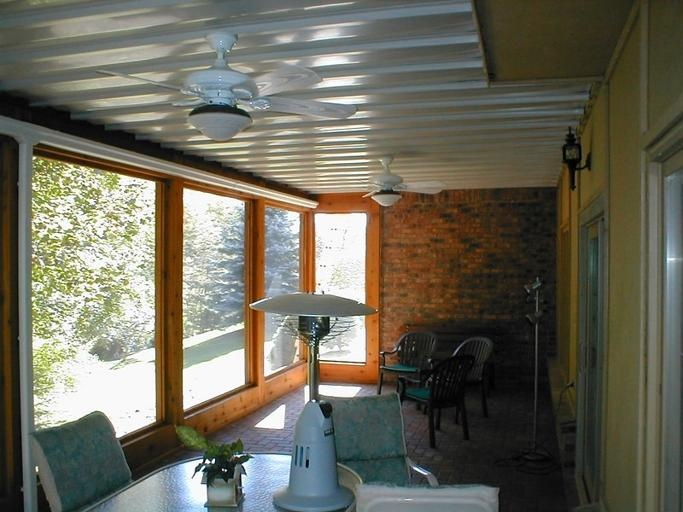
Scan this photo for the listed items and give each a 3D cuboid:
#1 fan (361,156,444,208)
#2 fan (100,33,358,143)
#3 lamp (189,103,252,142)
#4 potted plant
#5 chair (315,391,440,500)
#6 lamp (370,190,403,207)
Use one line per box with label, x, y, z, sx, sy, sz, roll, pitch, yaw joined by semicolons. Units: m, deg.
fan;0.490;-0.849;6.236;0.873;0.254;0.670;6;17;-16
fan;-0.538;-0.999;3.154;1.077;0.652;0.738;0;-2;15
lamp;-0.699;-0.730;3.159;0.402;0.138;0.331;-1;-9;5
potted plant;-0.725;1.112;3.056;0.384;0.420;0.354;1;-2;-13
chair;0.154;1.328;4.126;0.909;0.903;0.851;0;-14;-10
lamp;0.552;-0.721;6.809;0.630;0.156;0.524;0;-2;5
